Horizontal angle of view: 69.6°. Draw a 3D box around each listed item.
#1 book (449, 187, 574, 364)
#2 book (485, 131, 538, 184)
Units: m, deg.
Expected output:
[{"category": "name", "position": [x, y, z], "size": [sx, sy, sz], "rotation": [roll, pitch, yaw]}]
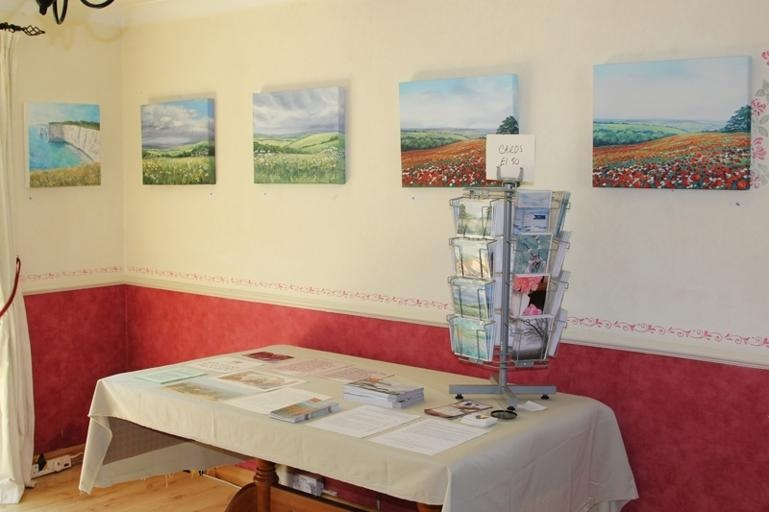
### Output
[{"category": "book", "position": [0.592, 0.112, 2.634], "size": [0.566, 0.875, 0.230], "rotation": [0, 7, 7]}, {"category": "book", "position": [0.599, -0.471, 2.622], "size": [0.215, 0.235, 0.181], "rotation": [1, 7, 11]}]
